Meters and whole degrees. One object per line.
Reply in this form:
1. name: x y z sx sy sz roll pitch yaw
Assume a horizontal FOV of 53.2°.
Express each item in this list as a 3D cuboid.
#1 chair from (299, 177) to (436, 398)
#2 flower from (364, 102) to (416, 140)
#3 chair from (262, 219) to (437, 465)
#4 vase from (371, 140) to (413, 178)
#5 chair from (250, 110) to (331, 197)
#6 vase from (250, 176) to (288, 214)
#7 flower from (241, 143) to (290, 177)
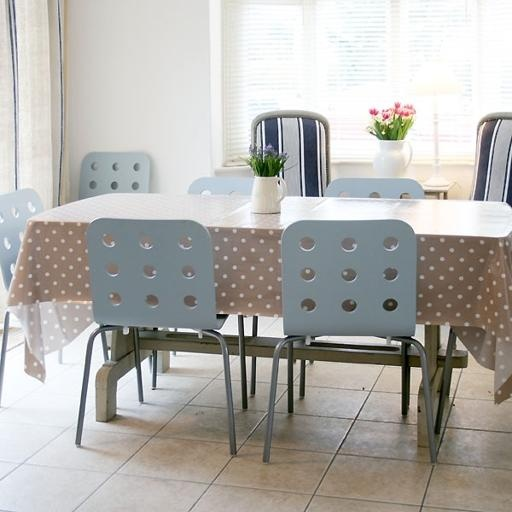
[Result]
1. chair: 0.558 -0.013 2.545 0.572 1.287 0.744 1 8 15
2. flower: 0.906 -0.837 3.283 0.171 0.204 0.179 -1 -1 -24
3. chair: 0.304 0.169 1.674 0.509 0.870 0.486 1 27 11
4. vase: 0.851 -0.616 3.197 0.226 0.238 0.235 0 7 6
5. chair: 0.248 -0.682 3.575 0.437 0.936 0.579 -1 5 -4
6. vase: 0.052 -0.229 1.824 0.135 0.138 0.093 23 36 38
7. flower: 0.038 -0.347 1.850 0.139 0.115 0.179 0 7 4
